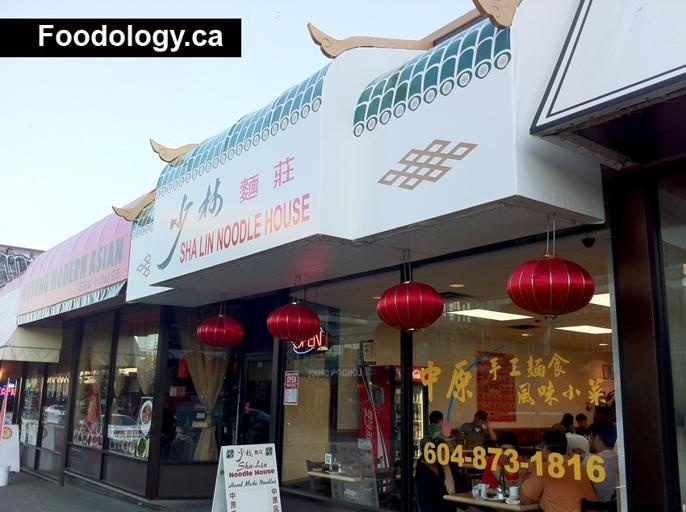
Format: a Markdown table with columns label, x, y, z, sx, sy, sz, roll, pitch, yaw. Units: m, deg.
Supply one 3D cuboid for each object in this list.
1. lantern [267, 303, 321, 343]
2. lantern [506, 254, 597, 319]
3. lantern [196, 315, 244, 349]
| label | x | y | z | sx | sy | sz | roll | pitch | yaw |
| --- | --- | --- | --- | --- | --- | --- | --- | --- | --- |
| lantern | -0.620 | 0.821 | 7.154 | 0.627 | 0.411 | 0.268 | 5 | -16 | -11 |
| lantern | 1.851 | 0.255 | 5.006 | 0.728 | 0.600 | 0.782 | -1 | -6 | 18 |
| lantern | -1.850 | 1.133 | 8.495 | 0.603 | 0.477 | 0.671 | 1 | -3 | -5 |
